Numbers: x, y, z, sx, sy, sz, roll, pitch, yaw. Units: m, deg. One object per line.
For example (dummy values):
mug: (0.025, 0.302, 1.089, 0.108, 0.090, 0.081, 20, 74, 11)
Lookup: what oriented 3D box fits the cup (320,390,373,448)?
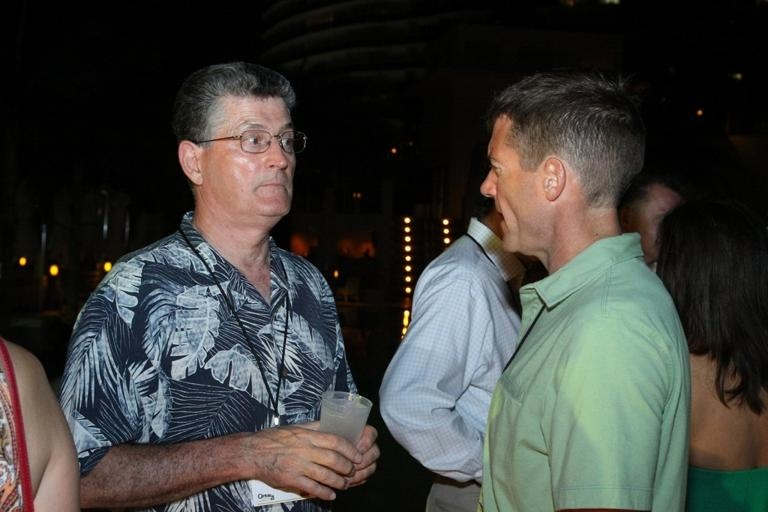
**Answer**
cup: (-0.168, 0.693, 2.962, 0.223, 0.236, 0.195, -1, -6, -7)
